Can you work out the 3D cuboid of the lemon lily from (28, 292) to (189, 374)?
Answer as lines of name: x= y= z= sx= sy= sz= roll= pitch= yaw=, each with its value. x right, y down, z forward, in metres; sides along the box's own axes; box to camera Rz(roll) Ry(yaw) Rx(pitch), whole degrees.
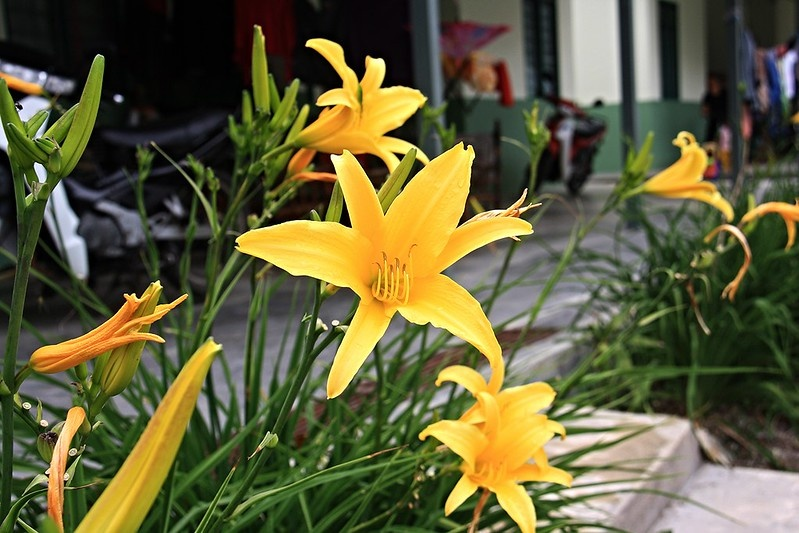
lemon lily: x=-0.421 y=0.089 z=1.079 sx=0.251 sy=0.122 sz=0.122 roll=-1 pitch=17 yaw=9

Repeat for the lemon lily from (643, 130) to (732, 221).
lemon lily: x=0.792 y=-0.261 z=1.964 sx=0.224 sy=0.202 sz=0.223 roll=4 pitch=18 yaw=24

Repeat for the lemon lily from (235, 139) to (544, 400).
lemon lily: x=-0.014 y=-0.019 z=1.146 sx=0.435 sy=0.439 sz=0.207 roll=4 pitch=-20 yaw=-19

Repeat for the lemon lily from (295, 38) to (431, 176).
lemon lily: x=-0.091 y=-0.311 z=1.502 sx=0.256 sy=0.182 sz=0.286 roll=15 pitch=33 yaw=9

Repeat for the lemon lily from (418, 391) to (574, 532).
lemon lily: x=0.176 y=0.383 z=1.507 sx=0.316 sy=0.284 sz=0.123 roll=-43 pitch=-3 yaw=-27
